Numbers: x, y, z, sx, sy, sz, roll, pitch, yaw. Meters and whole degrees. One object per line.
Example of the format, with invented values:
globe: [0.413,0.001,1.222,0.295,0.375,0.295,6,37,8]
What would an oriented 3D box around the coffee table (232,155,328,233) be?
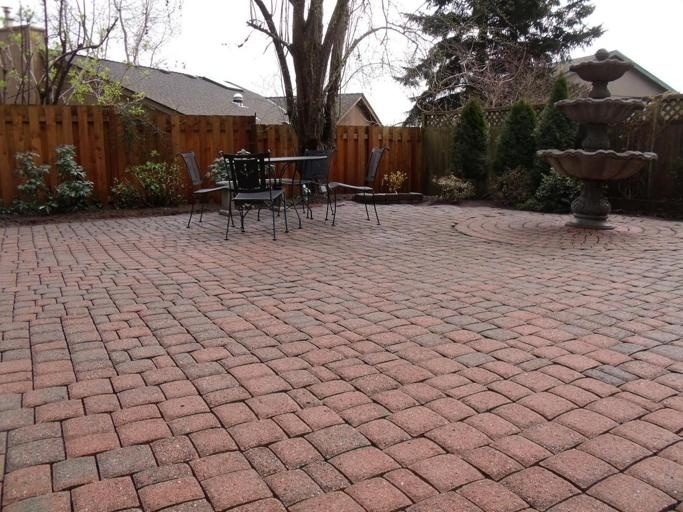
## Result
coffee table: [-1.333,-1.146,7.699,1.388,1.112,2.053,1,7,8]

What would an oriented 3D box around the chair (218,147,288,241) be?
chair: [-1.388,-1.019,7.213,0.852,1.443,0.961,0,19,7]
